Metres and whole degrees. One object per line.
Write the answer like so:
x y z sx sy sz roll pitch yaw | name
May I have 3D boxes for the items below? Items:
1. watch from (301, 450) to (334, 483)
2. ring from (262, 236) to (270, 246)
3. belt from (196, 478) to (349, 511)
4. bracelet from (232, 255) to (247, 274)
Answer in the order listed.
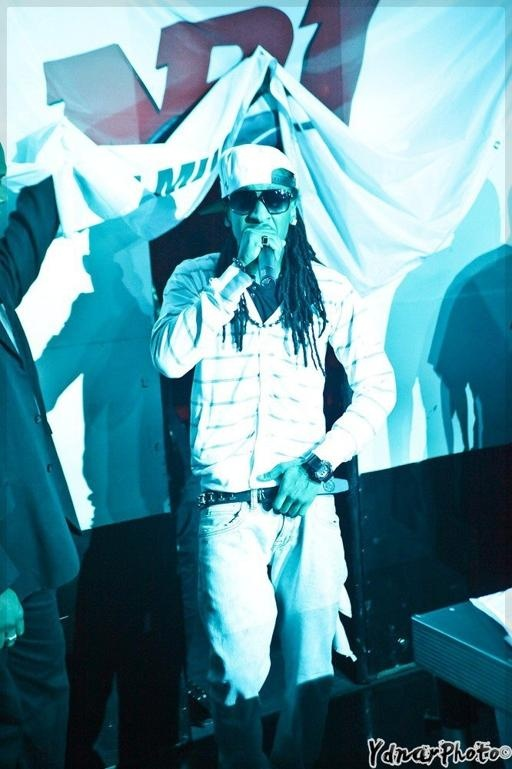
0.133 0.184 1.847 0.054 0.035 0.050 48 -10 -36 | watch
0.018 -0.312 1.793 0.017 0.016 0.016 2 -3 0 | ring
0.049 0.249 1.860 0.366 0.082 0.053 3 -20 -18 | belt
-0.038 -0.256 1.770 0.012 0.031 0.023 -46 -11 34 | bracelet
